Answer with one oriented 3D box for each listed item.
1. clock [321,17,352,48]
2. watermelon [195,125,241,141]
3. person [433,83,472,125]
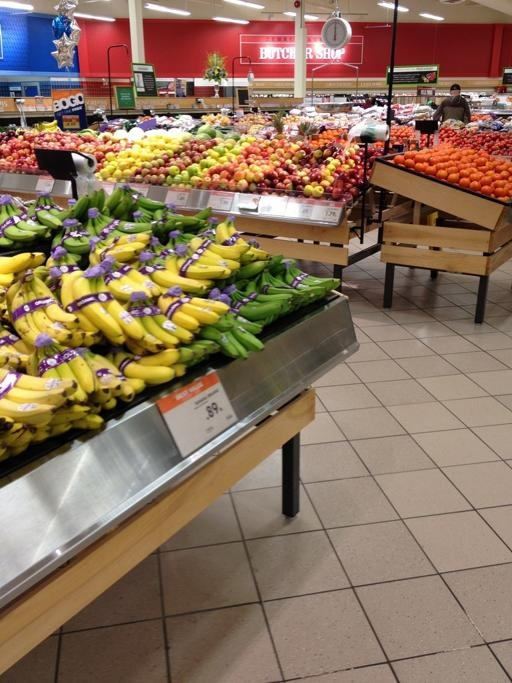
[{"bbox_3d":[1.438,-5.473,8.434,0.401,0.528,0.566,-11,27,-20],"label":"clock"},{"bbox_3d":[-0.460,-2.353,5.416,0.440,0.182,0.448,-3,18,-29],"label":"watermelon"},{"bbox_3d":[3.703,-4.446,8.946,0.621,0.682,1.137,12,27,25],"label":"person"}]
